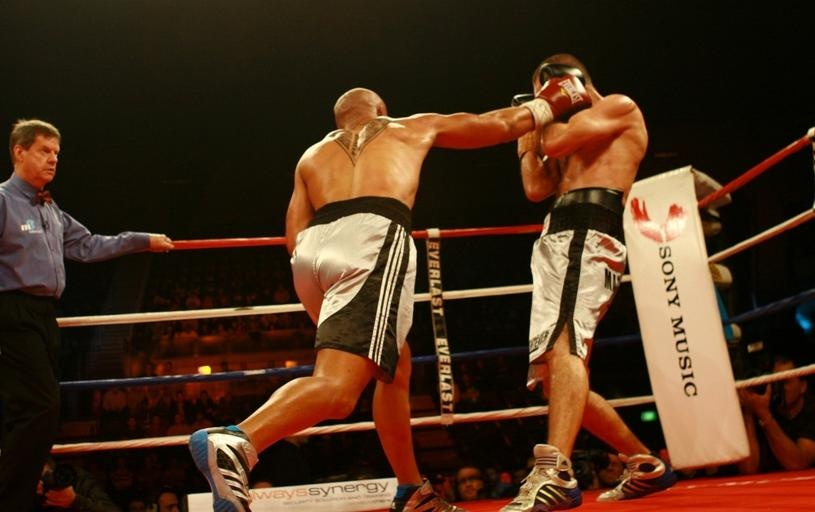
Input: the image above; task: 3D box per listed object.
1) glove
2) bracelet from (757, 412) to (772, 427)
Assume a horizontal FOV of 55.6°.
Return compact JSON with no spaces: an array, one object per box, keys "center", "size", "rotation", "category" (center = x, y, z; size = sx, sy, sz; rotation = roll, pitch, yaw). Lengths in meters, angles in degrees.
[{"center":[1.364,-1.281,6.853],"size":[0.788,0.763,0.279],"rotation":[-4,-33,19],"category":"glove"},{"center":[3.385,1.580,7.418],"size":[0.091,0.096,0.162],"rotation":[-1,-30,-3],"category":"bracelet"}]
